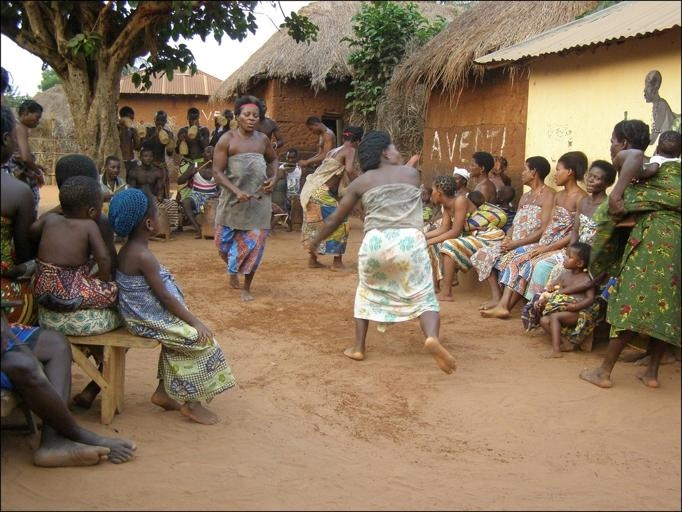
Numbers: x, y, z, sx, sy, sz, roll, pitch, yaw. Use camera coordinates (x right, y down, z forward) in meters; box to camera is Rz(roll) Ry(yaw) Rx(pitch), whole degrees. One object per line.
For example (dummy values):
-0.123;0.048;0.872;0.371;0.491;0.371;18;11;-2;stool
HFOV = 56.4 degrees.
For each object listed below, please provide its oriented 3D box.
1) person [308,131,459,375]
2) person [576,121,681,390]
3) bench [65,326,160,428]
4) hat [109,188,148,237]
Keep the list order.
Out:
0.407;-0.035;5.316;0.740;2.022;1.252;-8;14;-39;person
2.339;0.035;5.159;0.611;2.058;0.872;-1;12;-11;person
-1.671;0.867;4.509;0.732;0.471;0.688;-5;-16;-37;bench
-1.419;-0.309;4.333;0.308;0.306;0.127;-7;-25;34;hat
